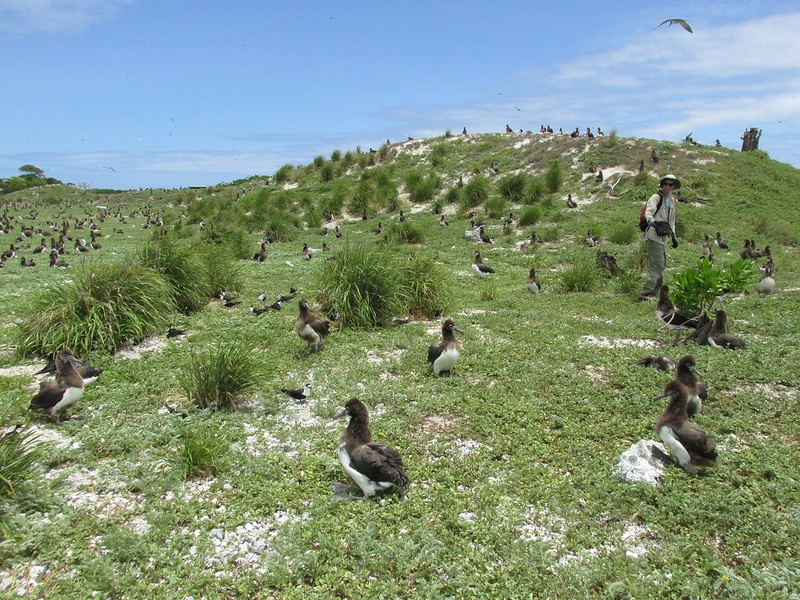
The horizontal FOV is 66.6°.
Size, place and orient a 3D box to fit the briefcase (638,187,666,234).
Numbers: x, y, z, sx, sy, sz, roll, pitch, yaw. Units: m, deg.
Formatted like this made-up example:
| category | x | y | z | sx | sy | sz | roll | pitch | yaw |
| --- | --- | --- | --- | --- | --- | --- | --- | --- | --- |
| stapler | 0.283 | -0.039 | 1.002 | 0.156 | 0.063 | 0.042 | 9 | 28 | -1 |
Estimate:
| category | x | y | z | sx | sy | sz | roll | pitch | yaw |
| --- | --- | --- | --- | --- | --- | --- | --- | --- | --- |
| briefcase | 5.715 | -2.083 | 14.270 | 0.927 | 0.859 | 0.634 | 13 | 28 | 37 |

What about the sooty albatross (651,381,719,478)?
| category | x | y | z | sx | sy | sz | roll | pitch | yaw |
| --- | --- | --- | --- | --- | --- | --- | --- | --- | --- |
| sooty albatross | 3.872 | 1.717 | 8.143 | 0.825 | 1.221 | 0.500 | 2 | 5 | 2 |

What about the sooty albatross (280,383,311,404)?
| category | x | y | z | sx | sy | sz | roll | pitch | yaw |
| --- | --- | --- | --- | --- | --- | --- | --- | --- | --- |
| sooty albatross | -1.658 | 1.487 | 9.665 | 0.424 | 0.260 | 0.215 | 7 | 0 | -4 |

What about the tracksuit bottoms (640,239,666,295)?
| category | x | y | z | sx | sy | sz | roll | pitch | yaw |
| --- | --- | --- | --- | --- | --- | --- | --- | --- | --- |
| tracksuit bottoms | 6.101 | -0.749 | 14.601 | 0.648 | 1.858 | 0.611 | 3 | 41 | 29 |
